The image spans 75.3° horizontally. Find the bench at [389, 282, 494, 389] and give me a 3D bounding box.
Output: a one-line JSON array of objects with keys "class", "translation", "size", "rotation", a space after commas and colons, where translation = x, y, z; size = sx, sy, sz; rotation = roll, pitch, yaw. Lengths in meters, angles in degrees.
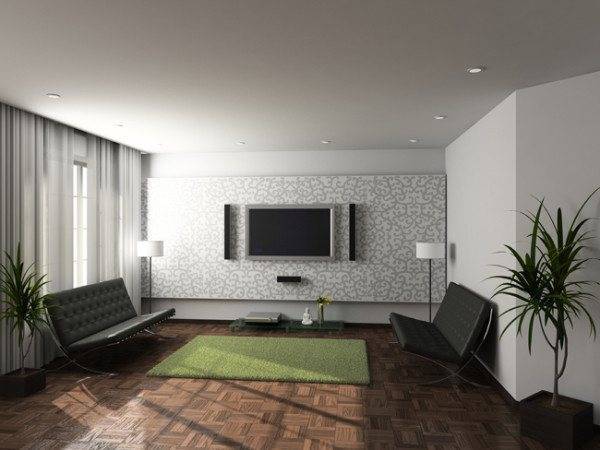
[{"class": "bench", "translation": [1.812, 1.375, 5.203], "size": [1.074, 1.031, 1.651], "rotation": [2, 0, 8]}]

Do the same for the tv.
[{"class": "tv", "translation": [-0.186, 0.100, 6.714], "size": [1.391, 0.839, 0.245], "rotation": [1, 5, 12]}]

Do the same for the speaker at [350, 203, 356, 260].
[{"class": "speaker", "translation": [0.910, 0.111, 6.630], "size": [0.139, 0.970, 0.102], "rotation": [-1, 5, -9]}]

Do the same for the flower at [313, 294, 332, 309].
[{"class": "flower", "translation": [0.379, 1.287, 6.581], "size": [0.230, 0.212, 0.225], "rotation": [5, 2, 9]}]

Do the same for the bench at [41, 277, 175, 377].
[{"class": "bench", "translation": [-2.557, 1.190, 5.365], "size": [0.872, 0.787, 1.585], "rotation": [1, 4, 12]}]

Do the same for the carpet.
[{"class": "carpet", "translation": [-0.421, 1.762, 5.274], "size": [2.687, 0.065, 1.468], "rotation": [0, 4, 5]}]
